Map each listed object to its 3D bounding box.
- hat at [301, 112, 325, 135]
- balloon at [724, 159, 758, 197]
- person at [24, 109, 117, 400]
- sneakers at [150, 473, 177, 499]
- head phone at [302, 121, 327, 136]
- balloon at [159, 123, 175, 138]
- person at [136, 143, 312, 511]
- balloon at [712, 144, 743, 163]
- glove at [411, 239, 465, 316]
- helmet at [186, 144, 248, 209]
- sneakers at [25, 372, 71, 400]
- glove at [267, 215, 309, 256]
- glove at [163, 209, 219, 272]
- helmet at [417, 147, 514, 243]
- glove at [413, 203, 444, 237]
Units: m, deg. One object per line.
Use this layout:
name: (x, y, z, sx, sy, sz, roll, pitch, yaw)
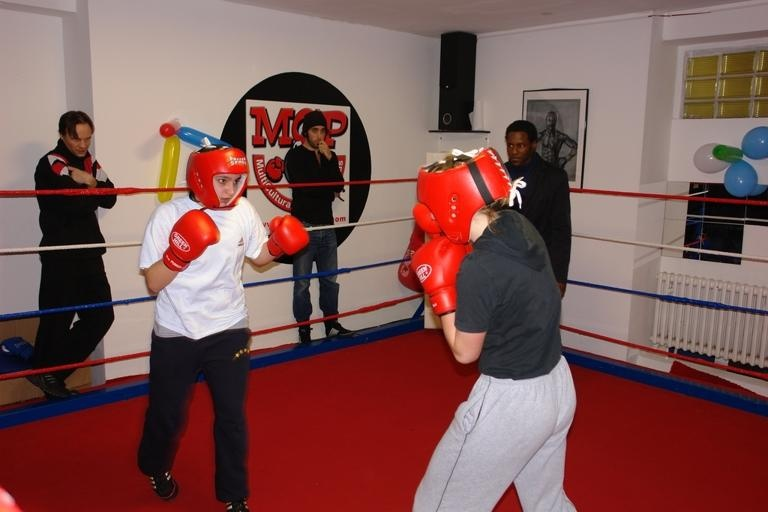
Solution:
hat: (-0.583, -1.108, 4.457, 0.186, 0.198, 0.091, 1, 14, 0)
balloon: (2.813, -0.602, 4.157, 0.266, 0.272, 0.200, 5, 15, 15)
person: (-2.143, -0.006, 3.646, 0.635, 1.907, 0.461, -6, 16, -27)
sneakers: (-1.122, 1.185, 2.739, 0.120, 0.125, 0.164, -11, -3, -16)
head phone: (-0.579, -1.065, 4.486, 0.128, 0.131, 0.162, -7, -12, -45)
balloon: (-1.516, -0.867, 3.741, 0.110, 0.100, 0.096, -10, -1, -27)
person: (-0.814, 0.395, 2.593, 0.797, 1.808, 0.478, -6, 15, -26)
balloon: (2.676, -0.791, 4.149, 0.218, 0.124, 0.142, 11, -8, -22)
glove: (0.214, 0.073, 2.119, 0.212, 0.288, 0.131, 11, 2, 9)
helmet: (-0.804, -0.372, 2.555, 0.307, 0.309, 0.251, 4, 9, 16)
sneakers: (-2.247, 0.858, 3.600, 0.343, 0.147, 0.174, 11, 17, 33)
glove: (-0.516, -0.096, 2.803, 0.182, 0.214, 0.192, 15, -39, -41)
glove: (-0.881, -0.054, 2.404, 0.189, 0.252, 0.147, 37, 36, -9)
helmet: (0.342, -0.275, 2.171, 0.405, 0.366, 0.323, 20, 22, 20)
glove: (0.168, -0.139, 2.151, 0.050, 0.136, 0.101, -42, 0, -10)
